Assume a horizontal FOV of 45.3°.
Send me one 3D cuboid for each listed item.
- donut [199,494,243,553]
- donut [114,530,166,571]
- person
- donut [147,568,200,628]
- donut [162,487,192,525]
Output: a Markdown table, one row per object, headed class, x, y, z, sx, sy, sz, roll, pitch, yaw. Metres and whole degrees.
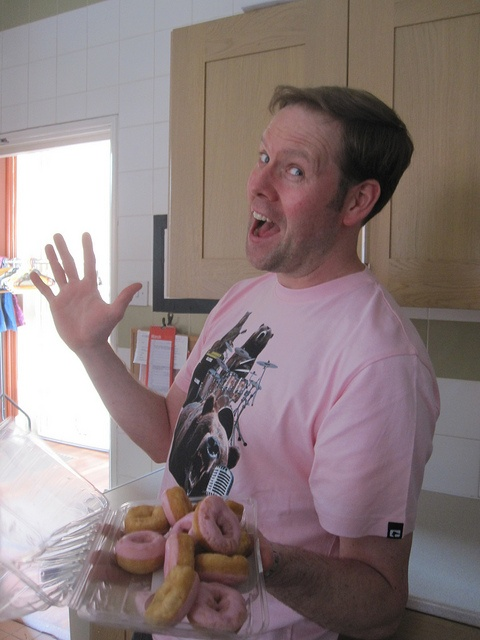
| class | x | y | z | sx | sy | sz | roll | pitch | yaw |
| --- | --- | --- | --- | --- | --- | --- | --- | --- | --- |
| donut | -0.025 | 0.220 | 0.618 | 0.014 | 0.046 | 0.044 | -28 | 3 | 15 |
| donut | -0.102 | 0.248 | 0.611 | 0.051 | 0.031 | 0.052 | 2 | 2 | 33 |
| person | 0.035 | 0.014 | 0.939 | 0.406 | 0.800 | 0.590 | 0 | 2 | -40 |
| donut | -0.063 | 0.257 | 0.536 | 0.050 | 0.034 | 0.053 | 1 | 2 | -7 |
| donut | -0.075 | 0.219 | 0.683 | 0.011 | 0.038 | 0.036 | -15 | -5 | 19 |
